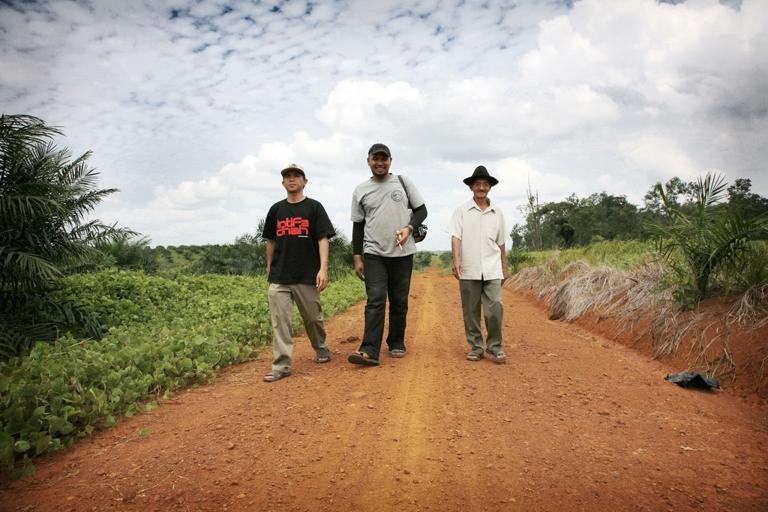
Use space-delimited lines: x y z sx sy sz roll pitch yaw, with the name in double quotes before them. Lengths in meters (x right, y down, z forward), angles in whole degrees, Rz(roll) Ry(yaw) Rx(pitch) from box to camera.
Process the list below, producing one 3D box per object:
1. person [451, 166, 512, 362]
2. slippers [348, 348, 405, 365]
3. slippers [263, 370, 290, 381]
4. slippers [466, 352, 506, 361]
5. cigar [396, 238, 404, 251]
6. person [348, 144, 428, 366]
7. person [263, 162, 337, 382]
"person" 1.514 0.096 6.841 0.863 3.056 0.660 -1 3 15
"slippers" -0.155 1.559 6.639 0.904 0.379 0.303 12 -24 -32
"slippers" -1.537 1.724 6.113 0.126 0.141 0.344 -10 -20 30
"slippers" 1.591 1.580 6.642 0.535 0.210 0.209 3 -13 1
"cigar" 0.240 -0.169 6.605 0.105 0.142 0.048 16 22 36
"person" 0.067 0.168 6.618 1.091 2.960 0.756 -2 3 -3
"person" -1.299 0.428 6.450 1.019 2.631 0.829 -2 3 -11
